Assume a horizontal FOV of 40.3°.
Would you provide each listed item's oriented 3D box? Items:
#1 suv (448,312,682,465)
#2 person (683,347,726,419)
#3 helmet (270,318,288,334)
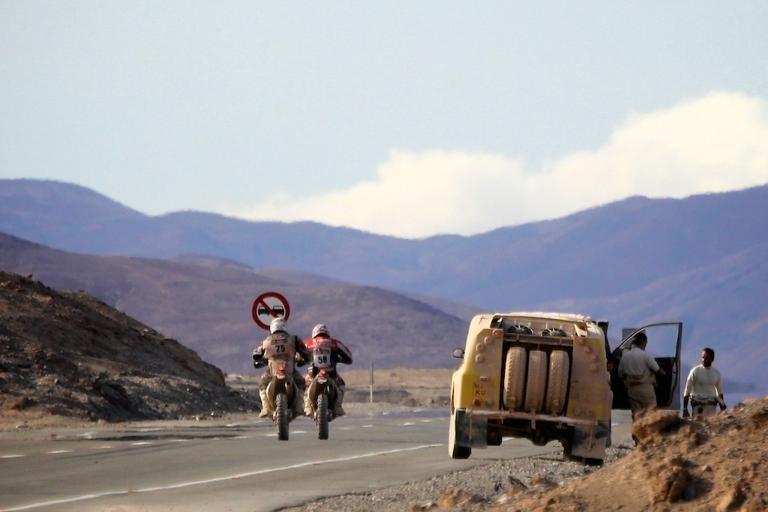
[{"bbox_3d":[4.764,3.400,28.701,5.736,4.266,1.926,6,-14,-12],"label":"suv"},{"bbox_3d":[9.051,3.528,29.940,1.056,1.886,0.588,-3,-14,21],"label":"person"},{"bbox_3d":[-3.330,2.146,32.612,0.358,0.544,0.458,3,-7,-1],"label":"helmet"}]
